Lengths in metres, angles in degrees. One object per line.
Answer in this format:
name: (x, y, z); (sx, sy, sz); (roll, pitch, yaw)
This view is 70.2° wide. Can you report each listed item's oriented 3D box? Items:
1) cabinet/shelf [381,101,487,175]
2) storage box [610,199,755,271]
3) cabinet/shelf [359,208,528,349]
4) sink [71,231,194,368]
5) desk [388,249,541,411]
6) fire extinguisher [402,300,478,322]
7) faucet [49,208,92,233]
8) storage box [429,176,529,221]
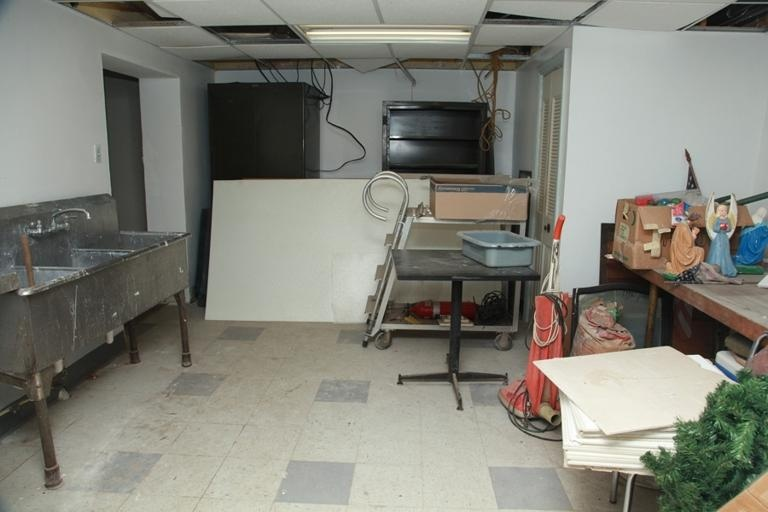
cabinet/shelf: (0.567, -1.322, 6.023); (1.034, 0.860, 0.360); (0, 1, -1)
storage box: (2.244, -0.120, 4.214); (0.688, 0.416, 0.680); (0, 7, 0)
cabinet/shelf: (0.495, 0.238, 5.064); (1.765, 1.279, 0.968); (1, 9, 2)
sink: (-2.030, 0.355, 4.355); (0.447, 0.730, 1.141); (2, 7, 1)
desk: (0.608, 0.501, 4.758); (1.229, 1.093, 1.182); (0, 17, 1)
fire extinguisher: (0.497, 0.522, 5.315); (0.832, 0.276, 0.235); (-1, 51, 5)
faucet: (-2.439, -0.297, 4.248); (0.223, 0.165, 0.093); (-3, -9, 1)
storage box: (0.869, -0.518, 4.969); (0.887, 0.394, 0.488); (1, 11, 4)
